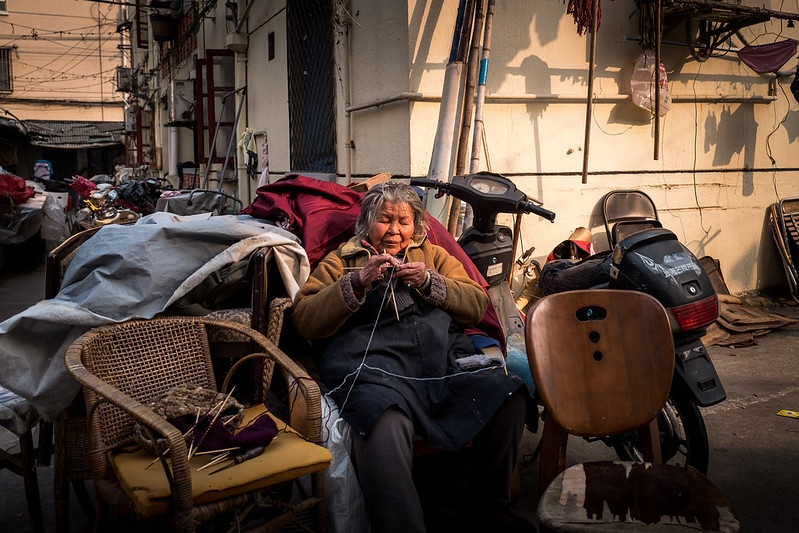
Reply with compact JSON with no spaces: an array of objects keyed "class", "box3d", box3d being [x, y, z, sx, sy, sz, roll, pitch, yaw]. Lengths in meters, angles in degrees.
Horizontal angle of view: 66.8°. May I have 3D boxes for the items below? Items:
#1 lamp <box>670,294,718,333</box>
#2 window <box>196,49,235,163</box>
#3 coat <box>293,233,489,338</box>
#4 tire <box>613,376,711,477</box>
[{"class":"lamp","box3d":[1.792,0.278,3.667,0.193,0.113,0.257,-14,-5,-13]},{"class":"window","box3d":[-3.424,-2.853,11.163,0.642,2.094,1.023,-2,15,-28]},{"class":"coat","box3d":[-0.101,0.125,3.722,1.025,0.548,0.611,-2,-1,-10]},{"class":"tire","box3d":[1.664,1.050,3.672,0.580,0.297,0.666,-3,32,13]}]
